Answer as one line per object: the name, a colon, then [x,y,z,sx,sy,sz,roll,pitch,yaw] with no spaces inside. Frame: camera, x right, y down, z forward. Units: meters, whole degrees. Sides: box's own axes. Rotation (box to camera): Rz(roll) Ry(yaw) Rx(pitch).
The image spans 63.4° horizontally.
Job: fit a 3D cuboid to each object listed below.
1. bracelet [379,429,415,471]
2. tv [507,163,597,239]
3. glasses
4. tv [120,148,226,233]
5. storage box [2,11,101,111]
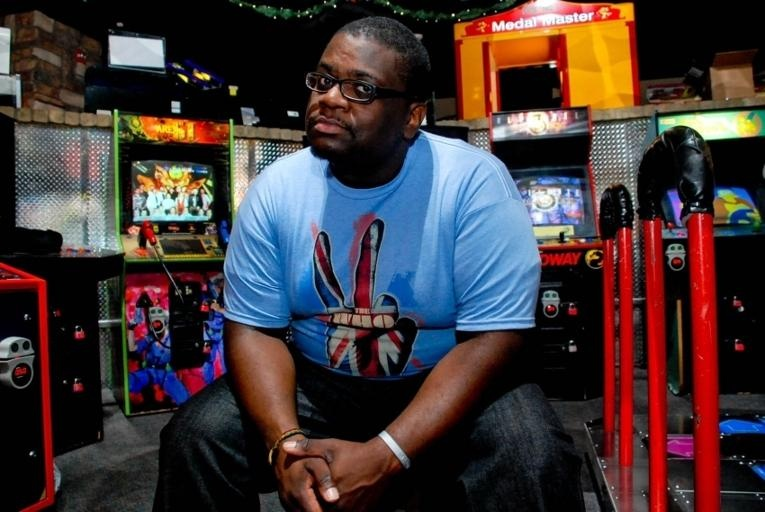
bracelet: [0.064,0.848,2.746,0.036,0.149,0.142,-44,-9,-14]
tv: [1.325,-0.400,4.697,0.650,0.554,0.228,-2,-20,3]
glasses: [-0.080,-0.787,2.928,0.489,0.162,0.093,-1,2,-1]
tv: [-1.686,-0.512,4.867,0.687,0.571,0.240,1,-5,-28]
storage box: [-3.275,-1.899,6.148,0.682,0.967,0.449,-3,3,-44]
